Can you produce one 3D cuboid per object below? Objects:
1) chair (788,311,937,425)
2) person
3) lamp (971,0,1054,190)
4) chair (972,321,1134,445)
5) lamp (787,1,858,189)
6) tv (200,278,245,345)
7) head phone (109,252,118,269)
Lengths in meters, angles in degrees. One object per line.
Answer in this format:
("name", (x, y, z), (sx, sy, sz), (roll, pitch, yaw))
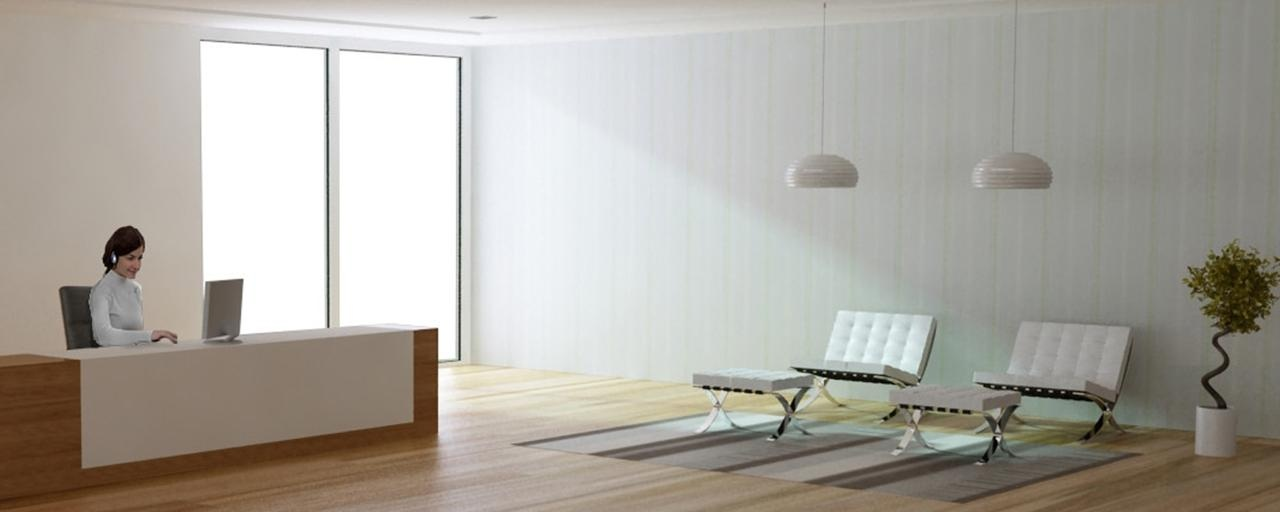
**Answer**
("chair", (4.082, 1.938, 13.744), (2.706, 1.633, 2.345), (0, -1, 36))
("person", (-7.162, 0.424, 10.603), (0.928, 1.654, 0.447), (-2, 6, -17))
("lamp", (6.052, -2.656, 12.378), (1.080, 3.109, 1.888), (2, 6, 23))
("chair", (6.854, 2.152, 12.704), (2.965, 1.811, 2.311), (0, 1, 39))
("lamp", (3.203, -2.737, 13.285), (1.078, 3.070, 1.727), (1, 6, 14))
("tv", (-5.775, 0.741, 10.587), (0.308, 0.834, 0.380), (4, 7, 38))
("head phone", (-7.223, 0.061, 10.518), (0.183, 0.194, 0.045), (3, 7, 33))
